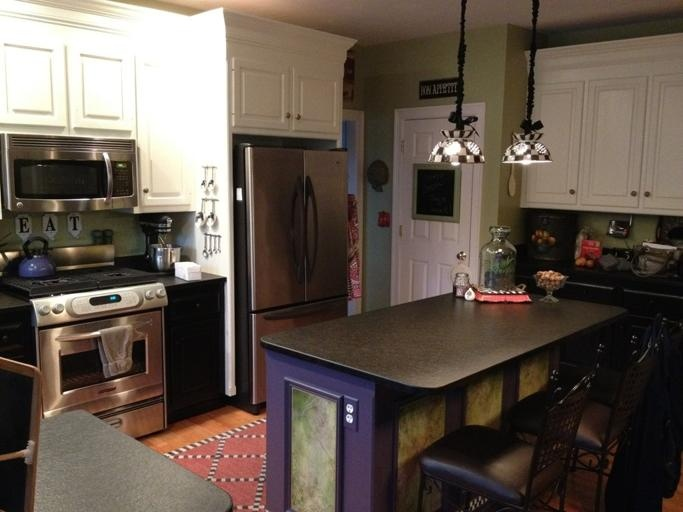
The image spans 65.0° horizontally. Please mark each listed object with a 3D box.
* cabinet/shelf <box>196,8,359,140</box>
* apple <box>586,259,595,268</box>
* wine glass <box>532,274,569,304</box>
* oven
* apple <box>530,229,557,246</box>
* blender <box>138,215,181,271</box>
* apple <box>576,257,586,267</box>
[{"bbox_3d":[-0.495,-1.395,4.270,1.211,0.867,0.405,-7,11,-36],"label":"cabinet/shelf"},{"bbox_3d":[2.244,0.061,4.847,0.059,0.064,0.060,-1,-24,9],"label":"apple"},{"bbox_3d":[1.427,0.195,3.652,0.179,0.212,0.232,5,11,30],"label":"wine glass"},{"bbox_3d":[-1.717,0.740,4.012,0.969,1.358,0.900,-6,8,-44],"label":"oven"},{"bbox_3d":[1.920,-0.170,5.088,0.172,0.129,0.074,29,2,36],"label":"apple"},{"bbox_3d":[-1.476,-0.124,4.309,0.437,0.448,0.197,11,13,36],"label":"blender"},{"bbox_3d":[2.201,0.045,4.940,0.082,0.074,0.142,2,10,15],"label":"apple"}]
